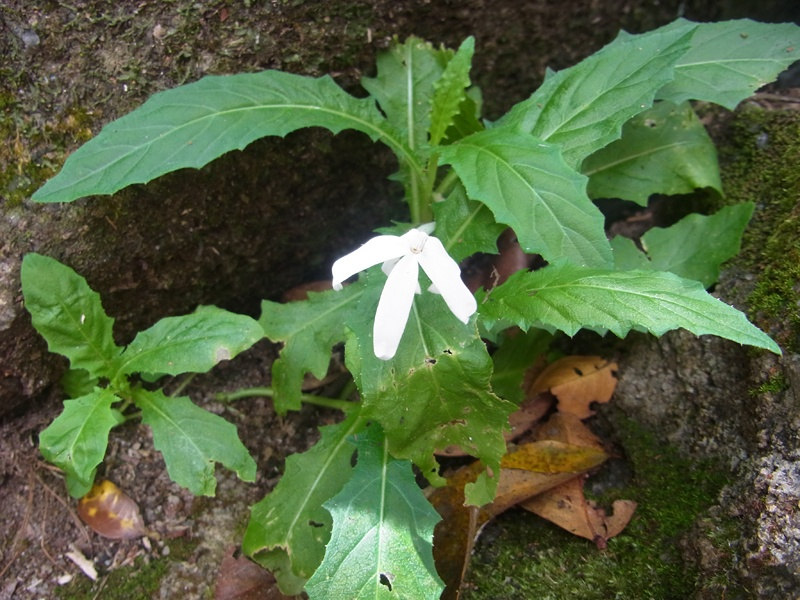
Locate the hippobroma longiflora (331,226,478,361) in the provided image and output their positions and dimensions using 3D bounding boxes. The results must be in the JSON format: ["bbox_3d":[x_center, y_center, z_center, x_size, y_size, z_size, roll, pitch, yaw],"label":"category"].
[{"bbox_3d":[0.009,-0.057,3.038,0.498,0.273,0.452,-27,54,-1],"label":"hippobroma longiflora"}]
